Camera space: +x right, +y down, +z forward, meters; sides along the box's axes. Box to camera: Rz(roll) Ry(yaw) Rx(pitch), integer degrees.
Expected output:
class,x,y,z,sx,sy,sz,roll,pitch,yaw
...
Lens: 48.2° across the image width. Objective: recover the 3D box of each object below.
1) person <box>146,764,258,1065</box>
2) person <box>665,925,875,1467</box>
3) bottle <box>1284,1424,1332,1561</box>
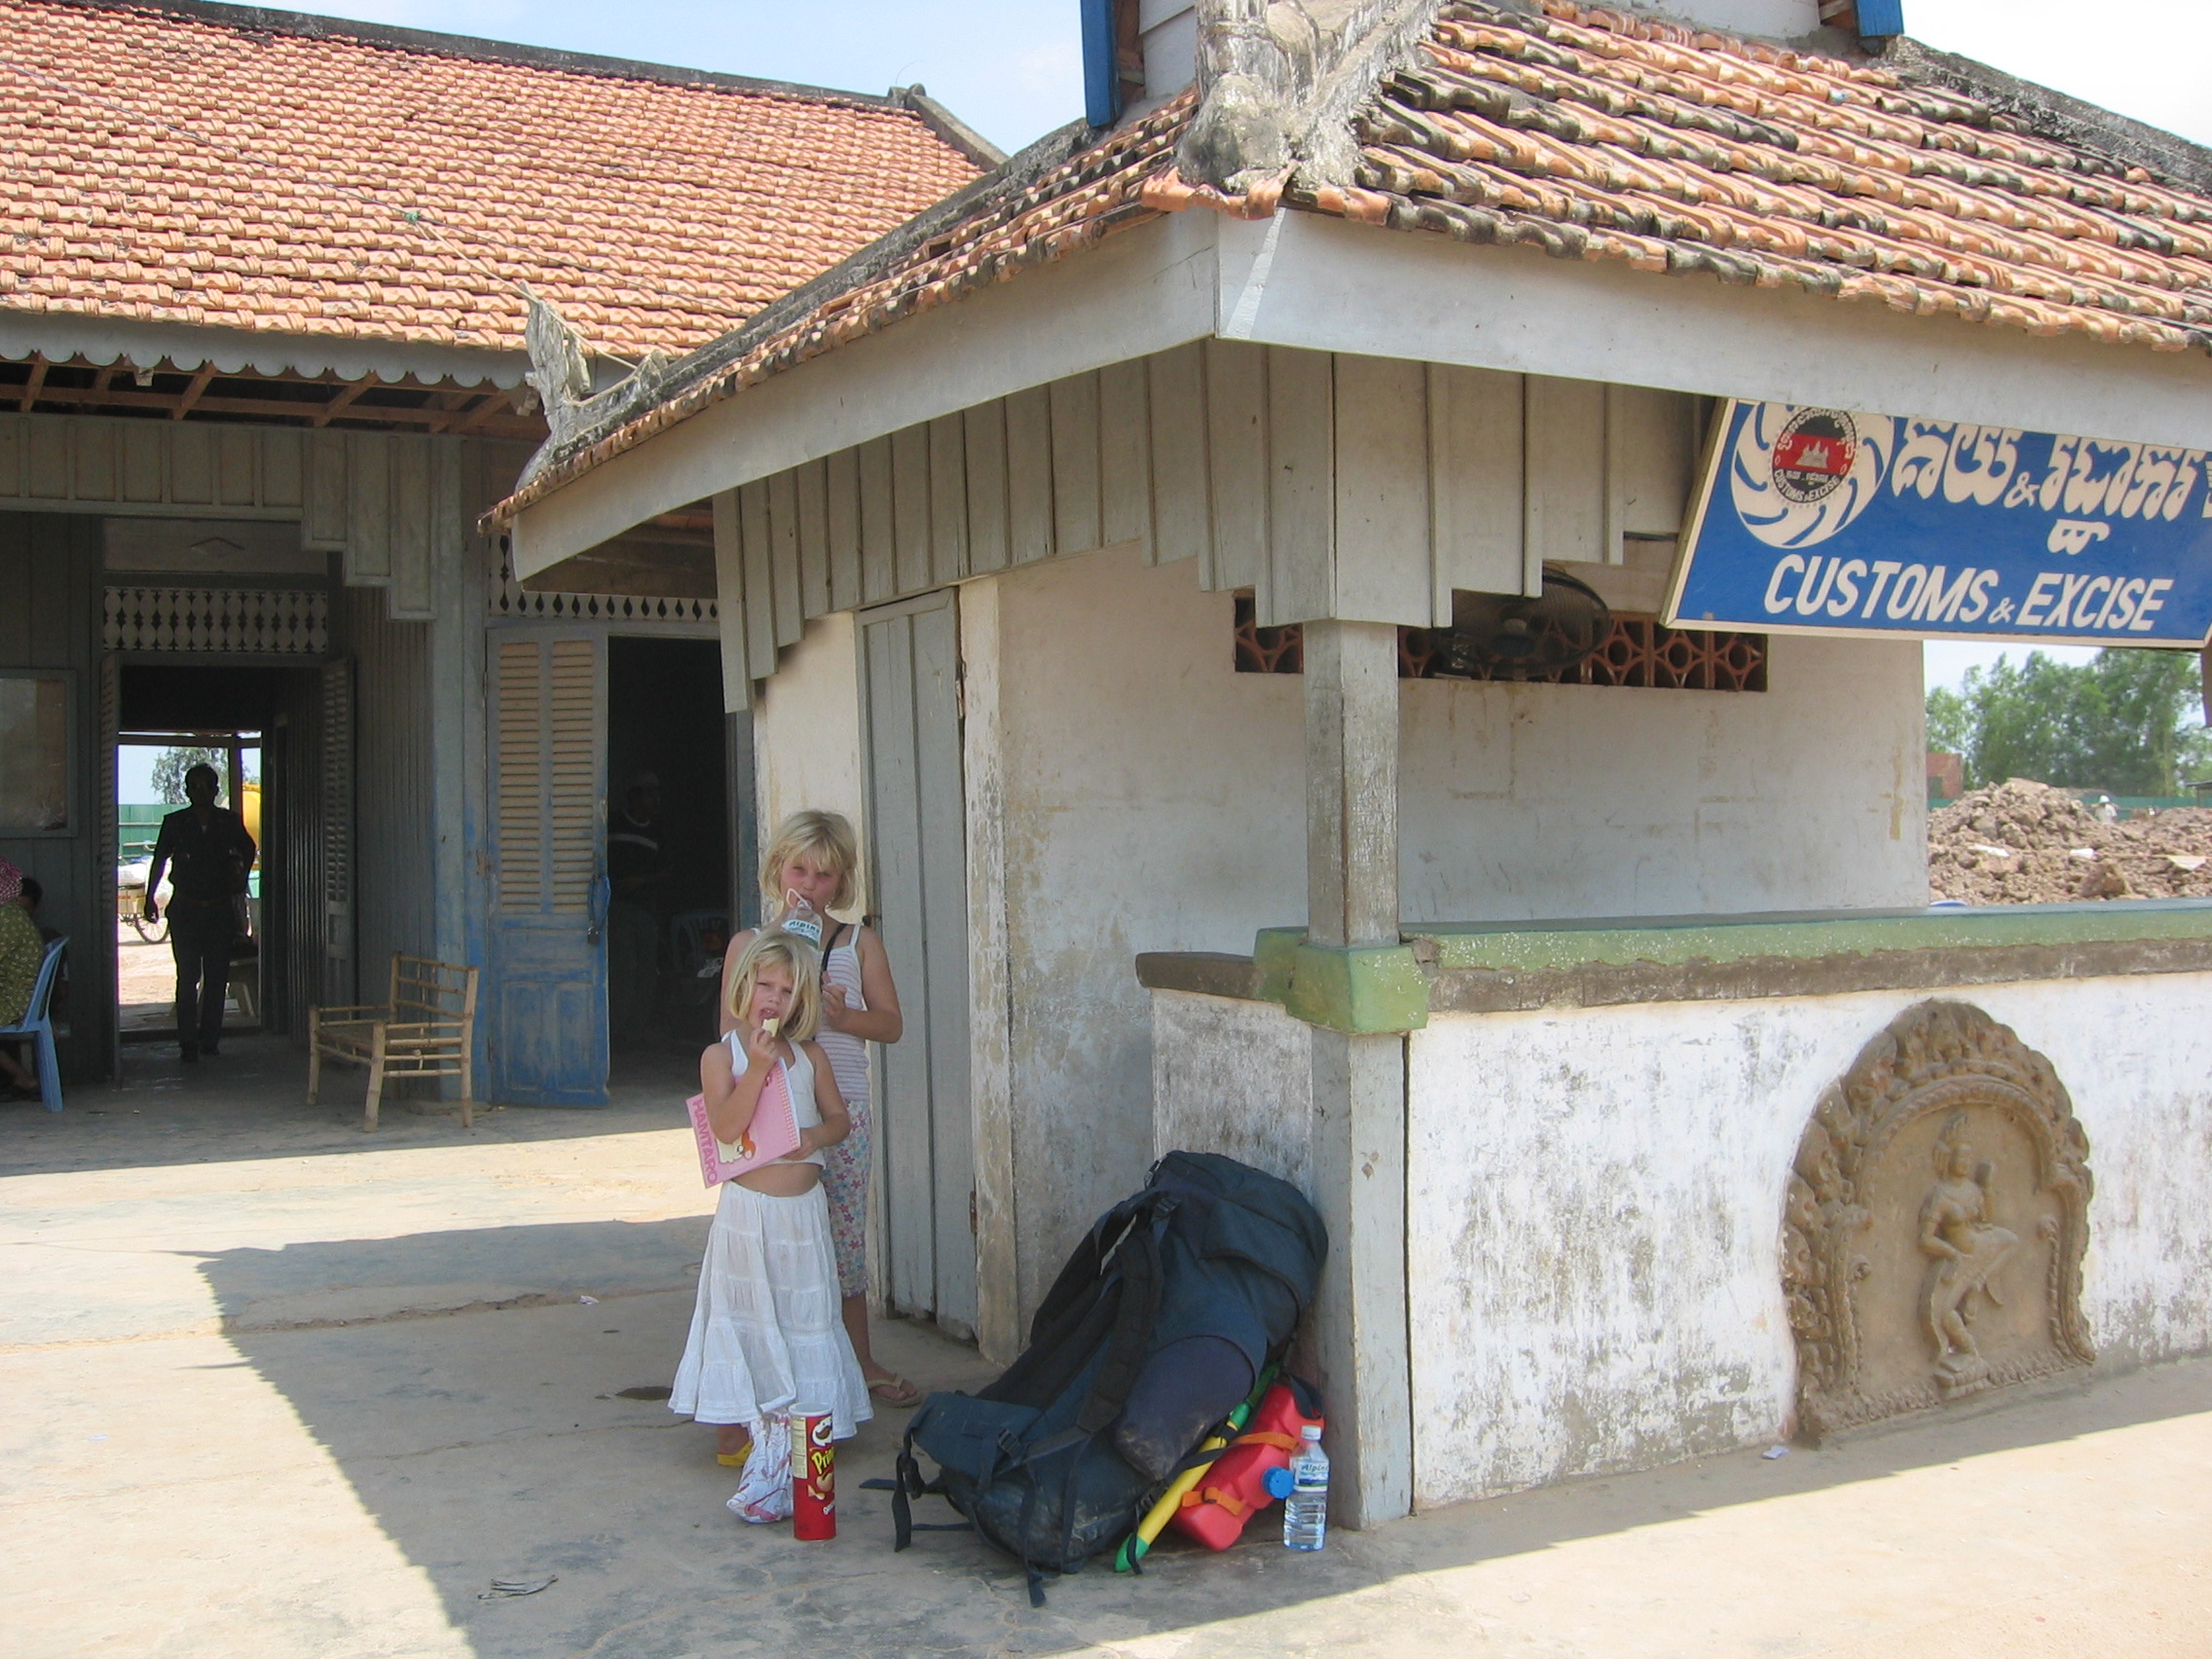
class,x,y,z,sx,sy,sz,roll,pitch,yaw
person,-6.692,0.627,18.455,0.678,2.203,1.111,-3,9,-20
person,-1.179,1.343,8.651,0.646,1.960,0.664,0,9,4
bottle,0.664,2.220,8.319,0.145,0.383,0.217,1,9,6
